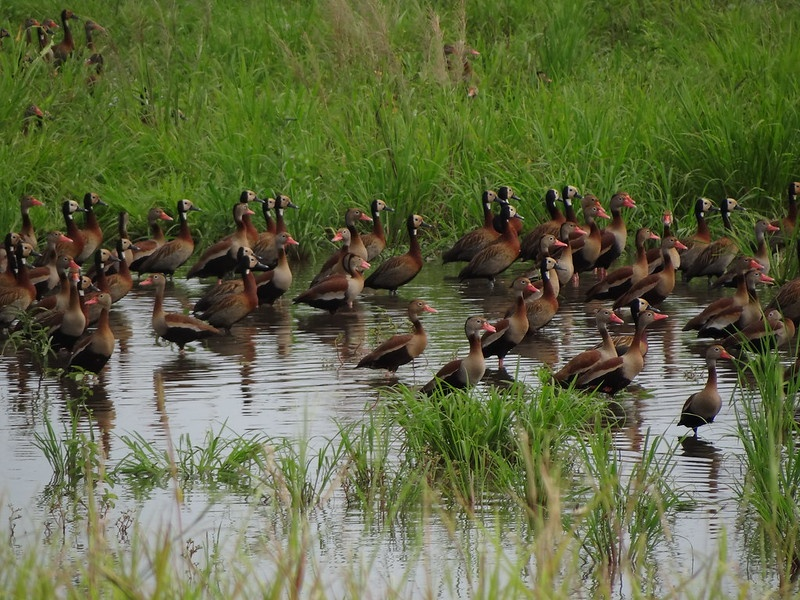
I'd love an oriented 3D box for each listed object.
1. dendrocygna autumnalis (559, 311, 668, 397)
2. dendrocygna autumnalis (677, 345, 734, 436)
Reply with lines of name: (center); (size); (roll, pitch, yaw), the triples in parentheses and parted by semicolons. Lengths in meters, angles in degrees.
dendrocygna autumnalis: (1.905, 0.551, 9.884); (0.430, 0.605, 0.895); (14, 28, 35)
dendrocygna autumnalis: (2.365, 0.770, 9.012); (0.317, 0.576, 0.722); (4, 24, 16)
